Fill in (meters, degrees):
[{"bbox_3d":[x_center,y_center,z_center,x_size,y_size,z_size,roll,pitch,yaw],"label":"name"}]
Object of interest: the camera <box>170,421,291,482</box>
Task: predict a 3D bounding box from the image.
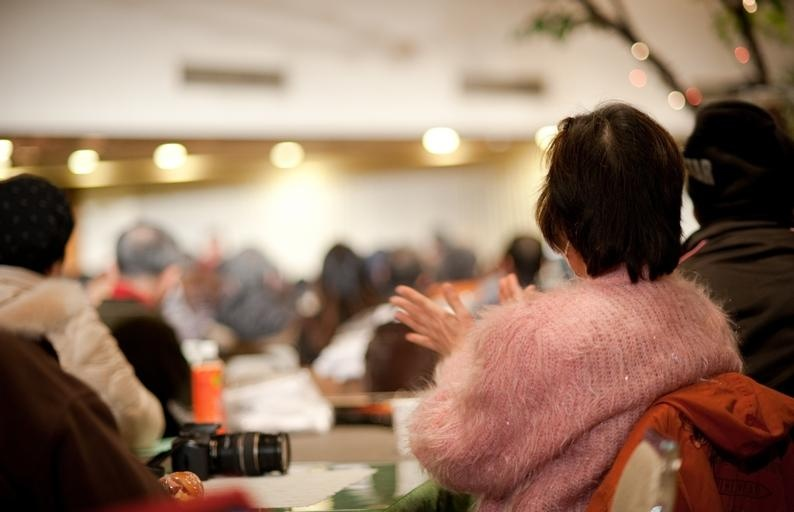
[{"bbox_3d":[-0.400,0.465,1.721,0.168,0.084,0.157,-1,-6,3],"label":"camera"}]
